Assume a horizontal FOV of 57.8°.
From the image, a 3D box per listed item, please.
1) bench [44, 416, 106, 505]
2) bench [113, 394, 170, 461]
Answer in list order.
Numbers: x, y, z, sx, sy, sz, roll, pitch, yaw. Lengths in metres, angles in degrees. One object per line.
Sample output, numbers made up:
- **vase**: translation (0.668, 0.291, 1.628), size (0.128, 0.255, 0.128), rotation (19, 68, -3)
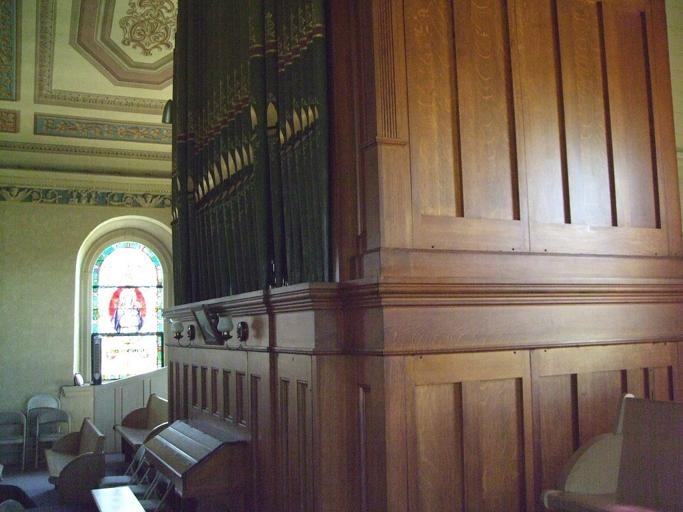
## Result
- **bench**: translation (-3.482, 2.666, 7.976), size (0.423, 0.629, 1.180), rotation (2, -6, -20)
- **bench**: translation (-2.885, 2.635, 8.910), size (0.562, 1.139, 1.461), rotation (11, -9, -29)
